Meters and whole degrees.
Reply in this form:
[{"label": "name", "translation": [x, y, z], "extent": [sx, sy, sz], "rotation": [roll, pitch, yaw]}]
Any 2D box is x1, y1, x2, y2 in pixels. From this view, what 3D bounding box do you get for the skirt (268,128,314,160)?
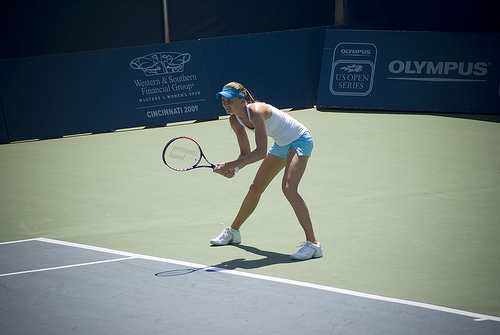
[{"label": "skirt", "translation": [0.440, -0.269, 4.701], "extent": [0.296, 0.385, 0.532], "rotation": [30, -26, -4]}]
